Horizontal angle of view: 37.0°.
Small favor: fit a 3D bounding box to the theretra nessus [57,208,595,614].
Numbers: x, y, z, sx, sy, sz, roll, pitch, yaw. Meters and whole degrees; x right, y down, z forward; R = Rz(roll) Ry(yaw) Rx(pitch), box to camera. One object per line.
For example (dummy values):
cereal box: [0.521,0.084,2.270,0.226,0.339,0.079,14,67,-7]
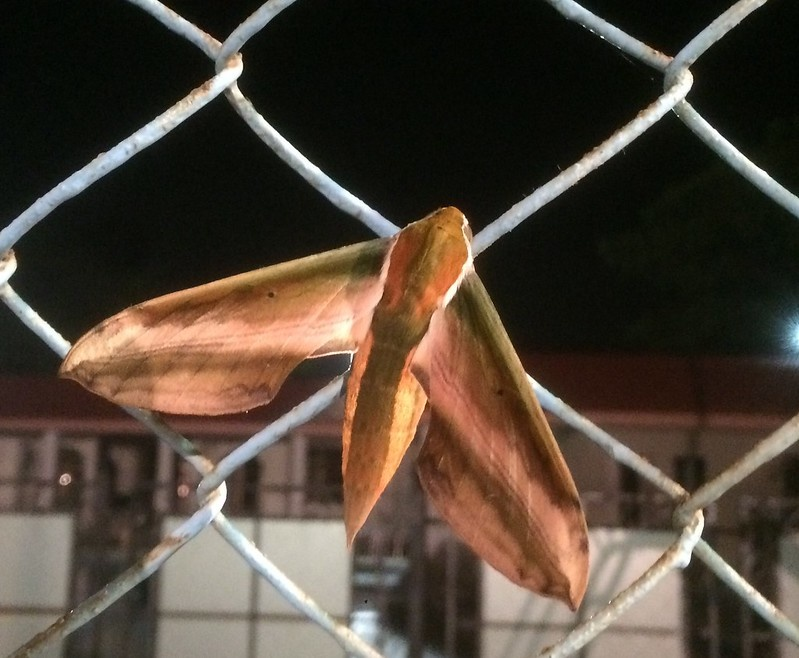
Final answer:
theretra nessus: [-0.040,0.071,2.482,1.062,0.652,0.322,24,6,0]
